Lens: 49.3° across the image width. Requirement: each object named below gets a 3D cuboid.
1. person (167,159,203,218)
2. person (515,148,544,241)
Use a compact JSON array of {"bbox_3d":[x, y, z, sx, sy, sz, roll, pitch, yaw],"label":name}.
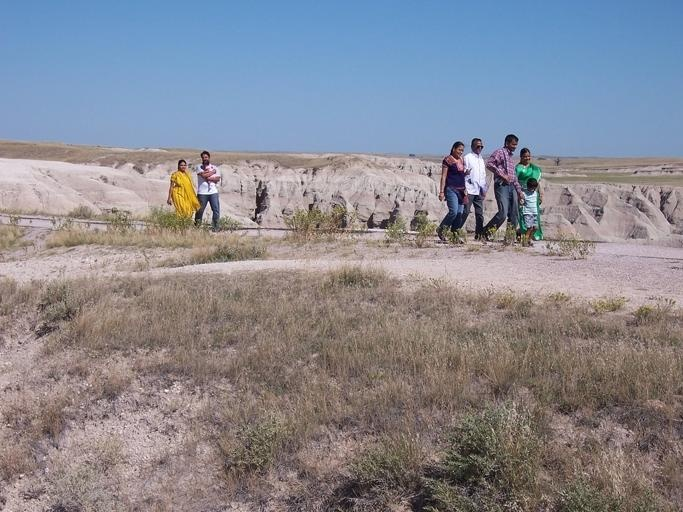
[{"bbox_3d":[-4.147,-1.615,19.603,0.779,1.962,0.524,-9,38,-22],"label":"person"},{"bbox_3d":[4.150,-1.317,16.356,0.558,2.109,0.595,-3,3,6],"label":"person"}]
